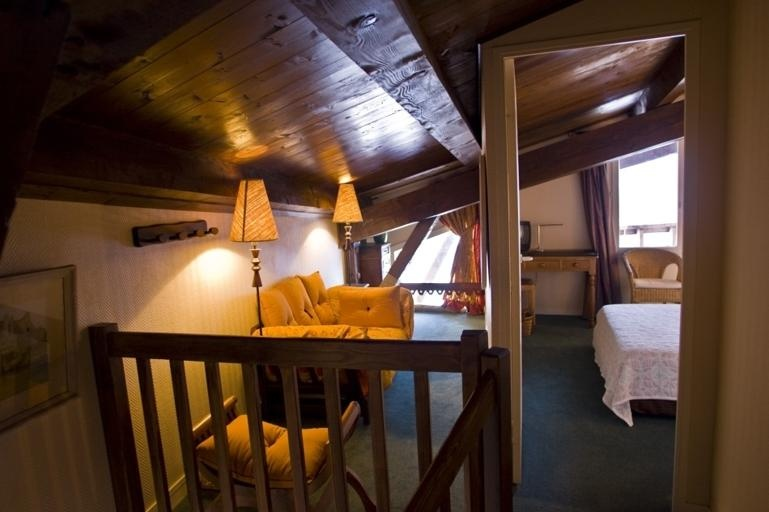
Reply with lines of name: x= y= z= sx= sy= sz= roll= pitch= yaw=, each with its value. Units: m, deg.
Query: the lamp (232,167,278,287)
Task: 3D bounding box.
lamp: x=-0.944 y=-0.155 z=3.894 sx=0.301 sy=0.782 sz=0.552 roll=-5 pitch=13 yaw=-15

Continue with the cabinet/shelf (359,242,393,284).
cabinet/shelf: x=-0.133 y=0.095 z=6.869 sx=0.201 sy=0.467 sz=0.516 roll=0 pitch=4 yaw=12

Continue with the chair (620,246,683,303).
chair: x=3.170 y=0.208 z=6.433 sx=0.675 sy=0.791 sz=0.622 roll=-2 pitch=-4 yaw=18

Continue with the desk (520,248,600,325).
desk: x=2.190 y=0.395 z=6.897 sx=0.919 sy=0.819 sz=0.594 roll=1 pitch=2 yaw=14

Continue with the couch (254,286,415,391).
couch: x=-0.464 y=0.496 z=4.722 sx=1.051 sy=0.615 sz=1.552 roll=7 pitch=14 yaw=33

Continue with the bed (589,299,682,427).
bed: x=2.106 y=0.910 z=4.402 sx=0.917 sy=0.258 sz=1.095 roll=-3 pitch=15 yaw=21
